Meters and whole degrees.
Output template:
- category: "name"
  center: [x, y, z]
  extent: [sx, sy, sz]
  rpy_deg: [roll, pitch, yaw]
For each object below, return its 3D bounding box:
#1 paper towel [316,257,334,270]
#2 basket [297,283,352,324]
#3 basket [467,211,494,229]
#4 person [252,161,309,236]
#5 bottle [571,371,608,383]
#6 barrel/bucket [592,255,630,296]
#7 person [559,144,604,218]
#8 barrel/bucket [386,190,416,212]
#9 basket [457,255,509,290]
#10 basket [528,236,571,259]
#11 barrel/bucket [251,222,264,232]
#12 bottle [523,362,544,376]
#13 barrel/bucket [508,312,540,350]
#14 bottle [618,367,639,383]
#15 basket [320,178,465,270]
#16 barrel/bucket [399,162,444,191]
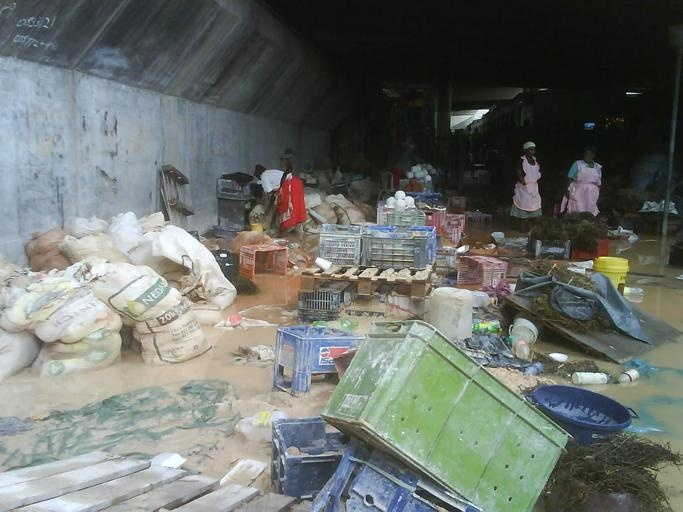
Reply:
- category: "paper towel"
  center: [-0.205, 0.082, 5.566]
  extent: [0.174, 0.141, 0.296]
  rpy_deg: [2, 6, 4]
- category: "basket"
  center: [-0.245, 0.536, 5.373]
  extent: [0.327, 0.253, 0.498]
  rpy_deg: [2, 6, 11]
- category: "basket"
  center: [3.506, -0.931, 12.452]
  extent: [0.614, 0.375, 0.703]
  rpy_deg: [3, 6, 15]
- category: "person"
  center: [-1.168, -1.050, 9.465]
  extent: [1.040, 1.218, 0.642]
  rpy_deg: [3, 7, 13]
- category: "bottle"
  center: [2.144, 1.051, 4.270]
  extent: [0.363, 0.108, 0.112]
  rpy_deg: [3, -23, -14]
- category: "barrel/bucket"
  center: [3.357, 0.249, 6.165]
  extent: [0.363, 0.451, 0.565]
  rpy_deg: [6, 8, 35]
- category: "person"
  center: [4.936, -1.531, 10.060]
  extent: [0.695, 1.371, 1.098]
  rpy_deg: [4, 8, 24]
- category: "barrel/bucket"
  center: [0.939, -0.823, 7.491]
  extent: [0.462, 0.230, 0.457]
  rpy_deg: [2, 0, 0]
- category: "basket"
  center: [1.890, 0.189, 6.621]
  extent: [0.513, 0.338, 0.511]
  rpy_deg: [3, 7, 23]
- category: "basket"
  center: [3.725, -0.126, 8.648]
  extent: [0.583, 0.345, 0.252]
  rpy_deg: [1, 7, -1]
- category: "barrel/bucket"
  center: [-1.627, -0.557, 9.377]
  extent: [0.264, 0.249, 0.247]
  rpy_deg: [1, -3, 0]
- category: "bottle"
  center: [1.712, 1.004, 4.405]
  extent: [0.265, 0.085, 0.082]
  rpy_deg: [-7, 55, -38]
- category: "barrel/bucket"
  center: [1.845, 0.763, 4.979]
  extent: [0.295, 0.293, 0.223]
  rpy_deg: [-10, -6, 21]
- category: "bottle"
  center: [2.532, 1.056, 4.323]
  extent: [0.232, 0.092, 0.092]
  rpy_deg: [-3, 8, -32]
- category: "basket"
  center: [0.852, -0.575, 8.043]
  extent: [2.580, 0.804, 2.473]
  rpy_deg: [0, 4, 6]
- category: "barrel/bucket"
  center: [1.960, -1.911, 12.080]
  extent: [1.138, 0.472, 1.114]
  rpy_deg: [-2, 27, 1]
